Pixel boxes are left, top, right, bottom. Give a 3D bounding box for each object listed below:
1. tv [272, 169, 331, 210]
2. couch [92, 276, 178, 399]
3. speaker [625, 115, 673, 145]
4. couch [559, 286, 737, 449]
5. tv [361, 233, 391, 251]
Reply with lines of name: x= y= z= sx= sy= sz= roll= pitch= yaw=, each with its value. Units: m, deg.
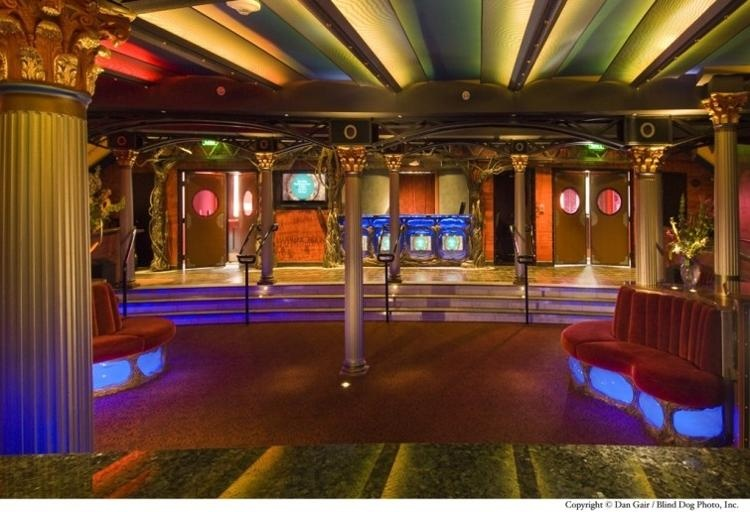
tv: x=-2.238 y=-2.162 z=16.103 sx=1.911 sy=1.193 sz=0.256 roll=3 pitch=7 yaw=23
couch: x=-3.459 y=1.208 z=7.350 sx=0.811 sy=0.698 sz=1.439 roll=1 pitch=4 yaw=-8
speaker: x=4.417 y=-1.999 z=8.254 sx=0.826 sy=0.481 sz=0.454 roll=1 pitch=4 yaw=7
couch: x=3.052 y=1.104 z=5.896 sx=1.142 sy=1.149 sz=2.570 roll=-8 pitch=6 yaw=-7
tv: x=0.036 y=-0.352 z=15.168 sx=1.007 sy=0.557 sz=0.509 roll=0 pitch=0 yaw=12
